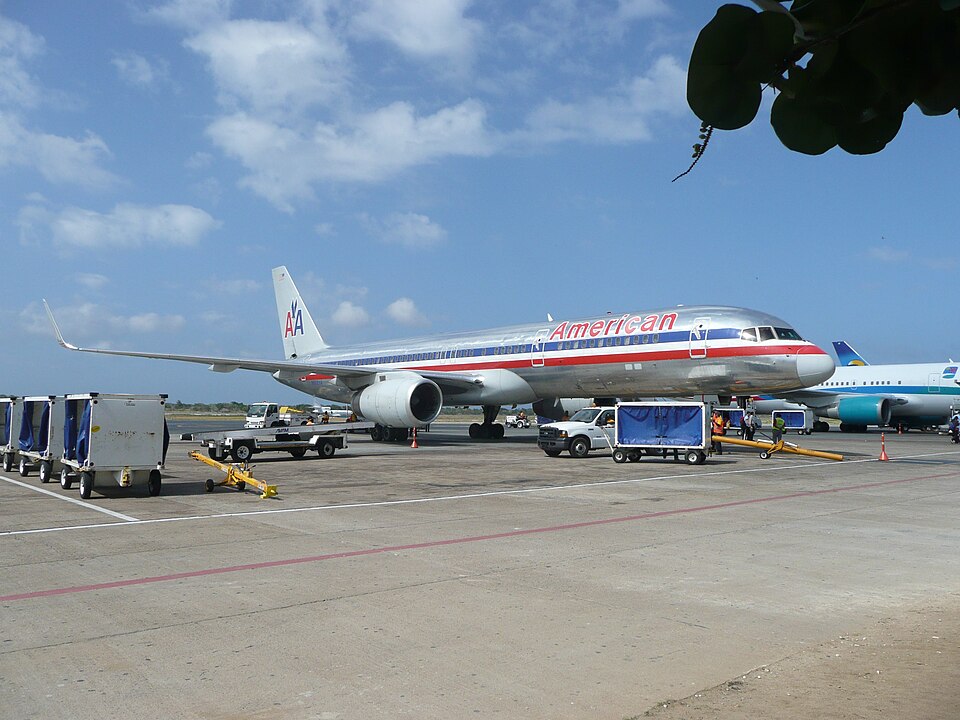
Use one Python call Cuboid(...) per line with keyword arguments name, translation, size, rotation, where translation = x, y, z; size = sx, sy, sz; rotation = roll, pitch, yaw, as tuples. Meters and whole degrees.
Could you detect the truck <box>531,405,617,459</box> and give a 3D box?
Cuboid(name="truck", translation=(2.957, 2.227, 23.093), size=(2.398, 1.481, 1.220), rotation=(1, -5, -7))
